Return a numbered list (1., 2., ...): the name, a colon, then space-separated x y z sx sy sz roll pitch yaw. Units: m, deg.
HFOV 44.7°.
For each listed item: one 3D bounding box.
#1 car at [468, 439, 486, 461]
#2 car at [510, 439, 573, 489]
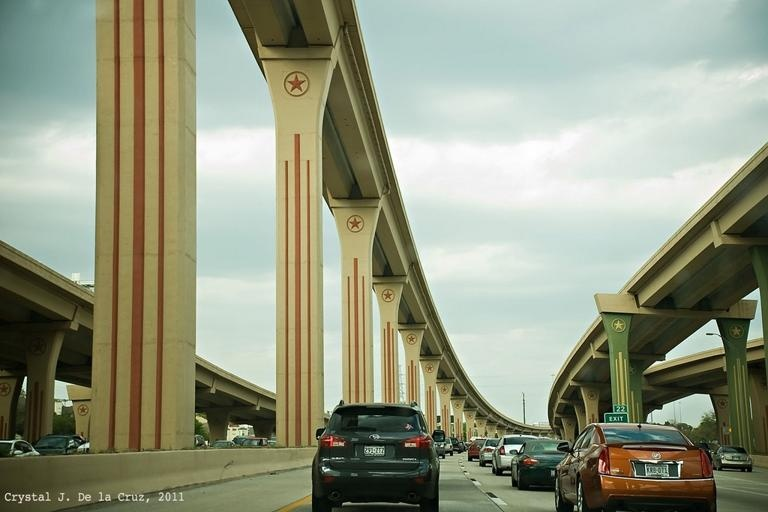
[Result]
1. car: 5.912 12.629 59.782 0.987 0.968 2.343 0 -5 5
2. car: 5.519 7.696 34.167 1.241 1.140 3.205 0 -9 4
